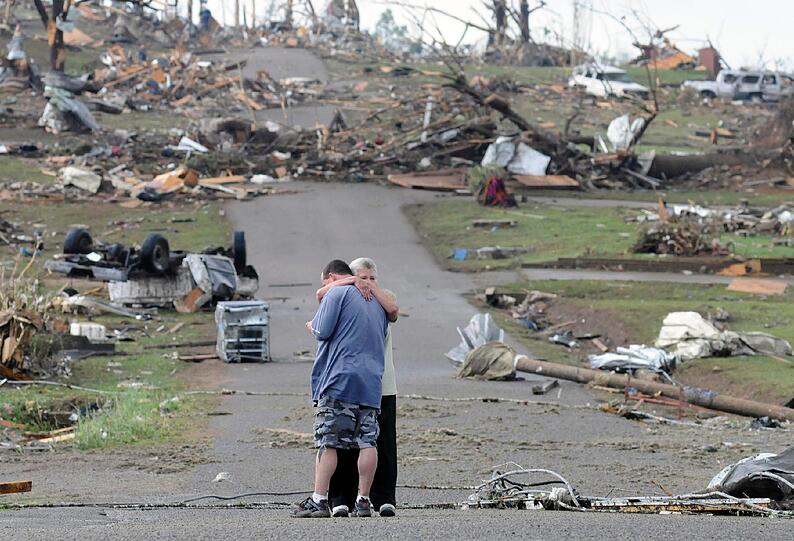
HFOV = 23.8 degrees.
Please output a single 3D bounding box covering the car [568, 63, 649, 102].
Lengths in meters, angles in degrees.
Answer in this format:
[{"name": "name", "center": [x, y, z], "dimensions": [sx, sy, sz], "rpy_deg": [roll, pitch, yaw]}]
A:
[{"name": "car", "center": [12.235, -11.060, 111.011], "dimensions": [2.447, 2.032, 4.958], "rpy_deg": [-6, 17, -38]}]
